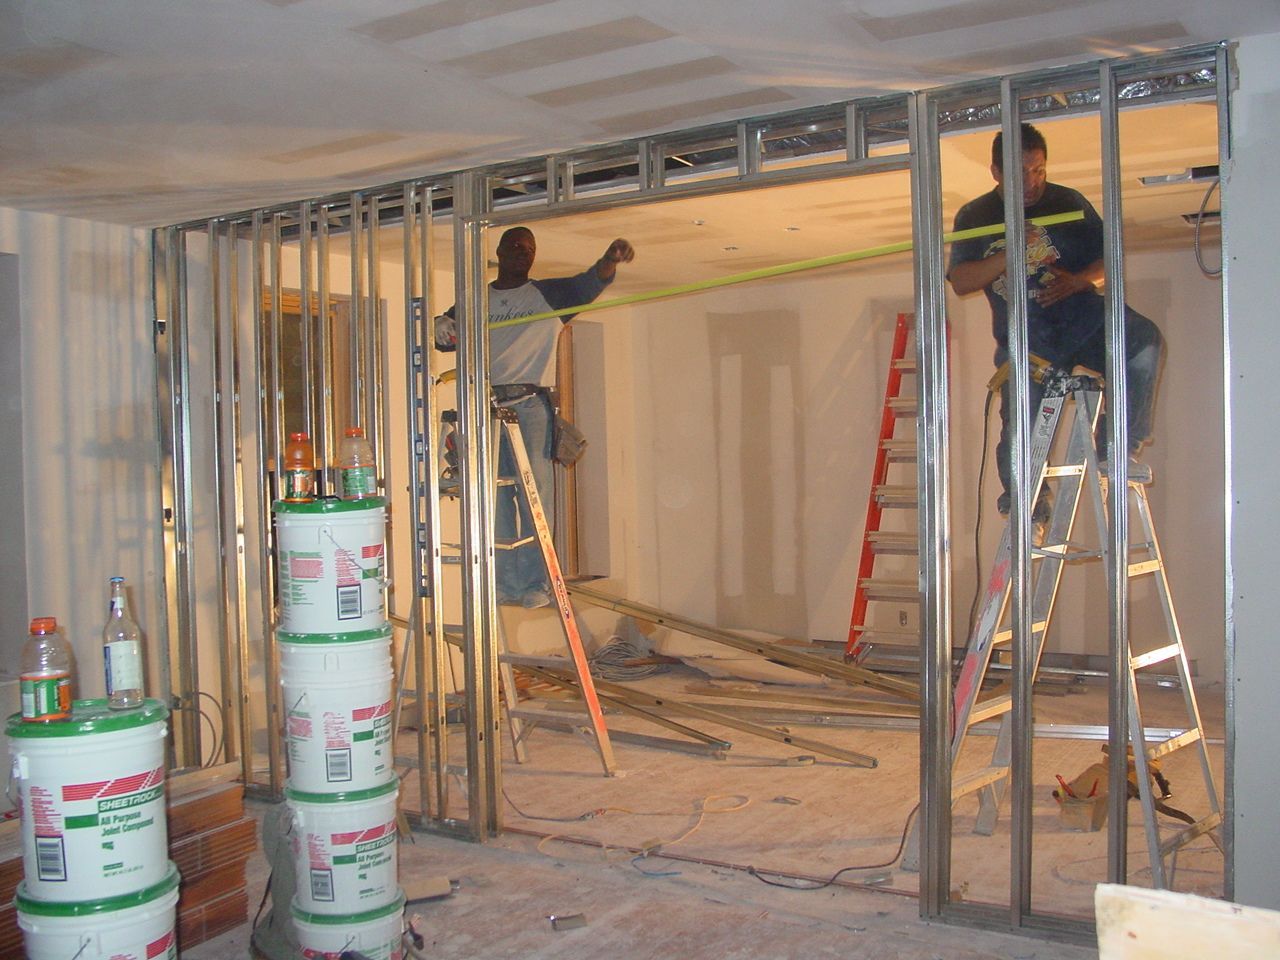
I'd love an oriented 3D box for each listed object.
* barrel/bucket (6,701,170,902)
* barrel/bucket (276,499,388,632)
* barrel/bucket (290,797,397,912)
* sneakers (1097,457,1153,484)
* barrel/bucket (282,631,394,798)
[{"bbox_3d":[-1.634,0.925,3.774,0.512,0.533,0.531,-1,-2,0],"label":"barrel/bucket"},{"bbox_3d":[-1.008,0.273,4.116,0.417,0.425,0.409,0,1,0],"label":"barrel/bucket"},{"bbox_3d":[-0.919,1.162,4.018,0.363,0.347,0.375,-1,1,0],"label":"barrel/bucket"},{"bbox_3d":[1.703,-0.029,4.315,0.184,0.076,0.178,1,1,-2],"label":"sneakers"},{"bbox_3d":[-1.039,0.764,4.085,0.445,0.479,0.430,-2,-5,0],"label":"barrel/bucket"}]
